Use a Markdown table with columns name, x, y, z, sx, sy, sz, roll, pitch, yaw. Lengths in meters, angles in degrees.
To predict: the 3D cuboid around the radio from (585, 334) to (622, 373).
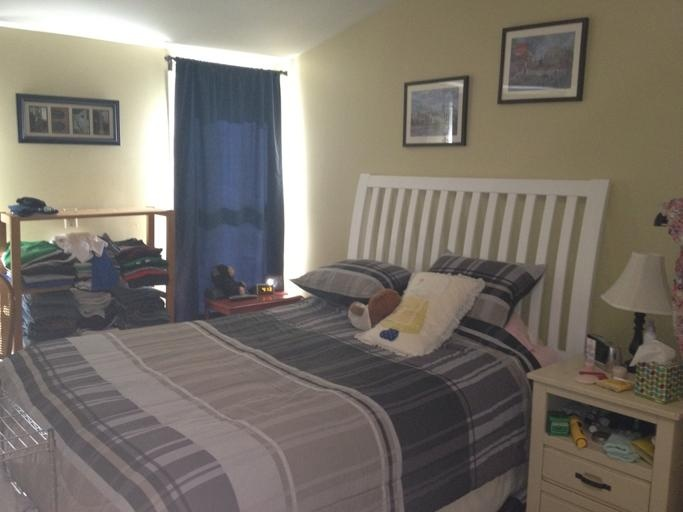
| name | x | y | z | sx | sy | sz | roll | pitch | yaw |
| --- | --- | --- | --- | --- | --- | --- | --- | --- | --- |
| radio | 1.297 | 0.499 | 2.699 | 0.223 | 0.147 | 0.070 | 21 | -6 | -21 |

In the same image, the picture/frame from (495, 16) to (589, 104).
| name | x | y | z | sx | sy | sz | roll | pitch | yaw |
| --- | --- | --- | --- | --- | --- | --- | --- | --- | --- |
| picture/frame | 1.263 | -1.223 | 3.250 | 0.598 | 0.550 | 0.042 | 4 | 2 | 41 |

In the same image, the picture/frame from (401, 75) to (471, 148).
| name | x | y | z | sx | sy | sz | roll | pitch | yaw |
| --- | --- | --- | --- | --- | --- | --- | --- | --- | --- |
| picture/frame | 0.696 | -1.049 | 3.773 | 0.540 | 0.498 | 0.037 | 7 | 10 | 44 |

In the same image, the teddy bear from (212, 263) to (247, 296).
| name | x | y | z | sx | sy | sz | roll | pitch | yaw |
| --- | --- | --- | --- | --- | --- | --- | --- | --- | --- |
| teddy bear | -0.971 | 0.238 | 4.471 | 0.216 | 0.320 | 0.343 | -10 | 8 | -37 |
